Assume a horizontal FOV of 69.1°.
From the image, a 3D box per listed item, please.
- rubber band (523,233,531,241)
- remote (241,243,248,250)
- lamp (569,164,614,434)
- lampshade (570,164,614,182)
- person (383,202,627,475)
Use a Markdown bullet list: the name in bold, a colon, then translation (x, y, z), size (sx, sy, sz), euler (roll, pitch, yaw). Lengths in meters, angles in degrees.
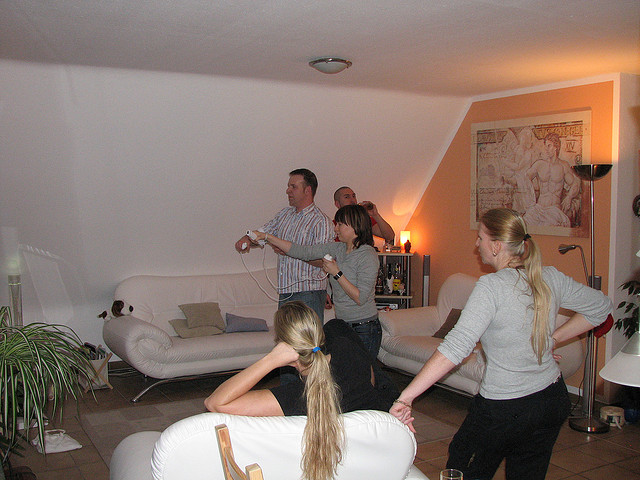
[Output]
- **rubber band**: translation (0.954, -0.009, 2.146), size (0.026, 0.013, 0.035), euler (-20, 1, 23)
- **remote**: translation (-0.640, 0.055, 3.881), size (0.048, 0.038, 0.040), euler (8, 9, 33)
- **lamp**: translation (2.417, 0.484, 4.102), size (0.536, 2.300, 0.369), euler (-2, 4, -41)
- **lampshade**: translation (2.332, -0.584, 4.043), size (0.220, 0.080, 0.212), euler (-1, 4, -16)
- **person**: translation (0.857, 0.488, 2.133), size (1.129, 1.254, 0.314), euler (-1, 4, -27)
